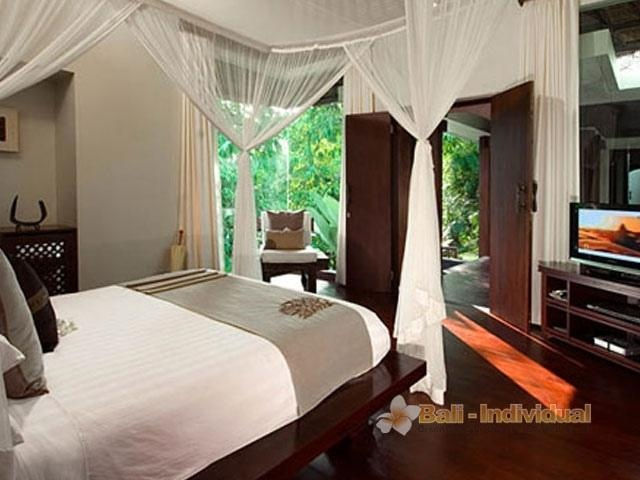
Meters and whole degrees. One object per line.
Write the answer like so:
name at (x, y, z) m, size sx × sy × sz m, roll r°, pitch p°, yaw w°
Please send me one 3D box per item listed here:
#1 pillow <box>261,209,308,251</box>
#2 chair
pillow at (-0.451, -0.114, 5.592) m, size 0.486 × 0.551 × 0.505 m, roll 0°, pitch -3°, yaw -1°
chair at (-0.389, 0.105, 5.653) m, size 0.696 × 1.273 × 0.935 m, roll 0°, pitch -2°, yaw -5°
